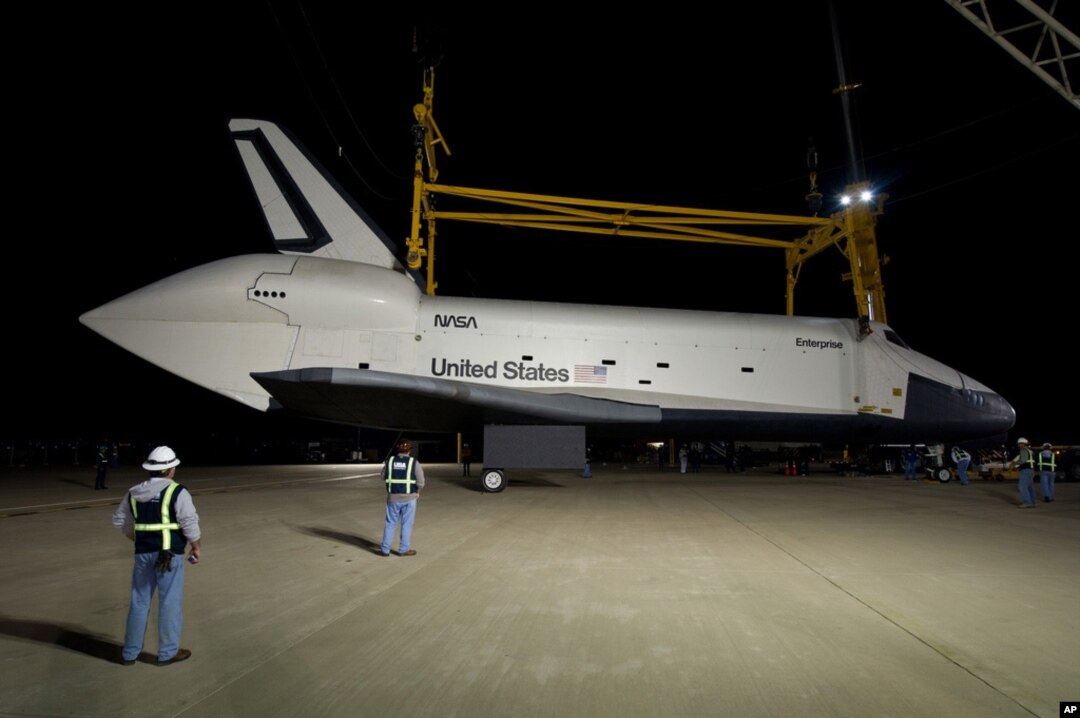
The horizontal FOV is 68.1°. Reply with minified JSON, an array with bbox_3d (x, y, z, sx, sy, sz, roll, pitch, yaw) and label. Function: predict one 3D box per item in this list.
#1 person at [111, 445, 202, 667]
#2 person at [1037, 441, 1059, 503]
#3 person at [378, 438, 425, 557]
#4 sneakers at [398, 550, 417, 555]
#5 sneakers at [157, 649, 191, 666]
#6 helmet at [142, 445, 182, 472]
[{"bbox_3d":[-4.672,2.391,9.830,0.952,2.535,0.740,-3,10,-17],"label":"person"},{"bbox_3d":[11.836,2.616,18.678,0.368,1.617,1.322,6,11,32],"label":"person"},{"bbox_3d":[-2.380,2.342,13.678,0.701,2.011,1.568,-2,9,-11],"label":"person"},{"bbox_3d":[-2.182,3.173,13.151,0.245,0.109,0.091,5,-24,-1],"label":"sneakers"},{"bbox_3d":[-4.454,3.626,9.791,0.365,0.149,0.131,-4,24,-44],"label":"sneakers"},{"bbox_3d":[-4.697,1.251,10.067,0.419,0.258,0.507,9,1,-2],"label":"helmet"}]
